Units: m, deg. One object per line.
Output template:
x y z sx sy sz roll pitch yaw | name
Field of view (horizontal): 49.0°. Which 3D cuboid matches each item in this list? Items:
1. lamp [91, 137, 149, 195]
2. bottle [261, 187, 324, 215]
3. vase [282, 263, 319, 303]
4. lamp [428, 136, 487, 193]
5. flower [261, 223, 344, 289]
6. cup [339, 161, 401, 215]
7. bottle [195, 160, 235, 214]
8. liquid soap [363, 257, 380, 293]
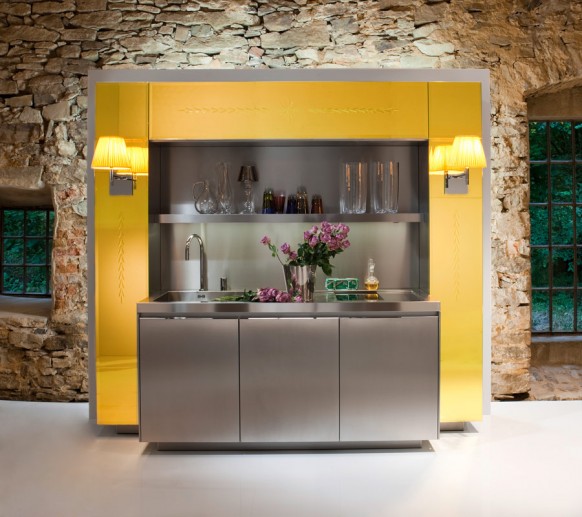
-1.194 -0.631 4.560 0.387 0.323 0.247 6 -5 -44 | lamp
0.010 -0.443 4.876 0.475 0.197 0.361 0 9 1 | bottle
0.075 0.178 4.615 0.271 0.254 0.252 0 -1 22 | vase
1.224 -0.656 4.579 0.305 0.388 0.406 1 1 -24 | lamp
0.085 -0.015 4.648 0.546 0.384 0.504 0 -3 -14 | flower
0.584 -0.527 4.776 0.434 0.367 0.348 1 9 6 | cup
-0.599 -0.529 4.835 0.304 0.372 0.143 -2 9 -12 | bottle
0.615 0.133 4.877 0.117 0.268 0.401 1 9 7 | liquid soap
